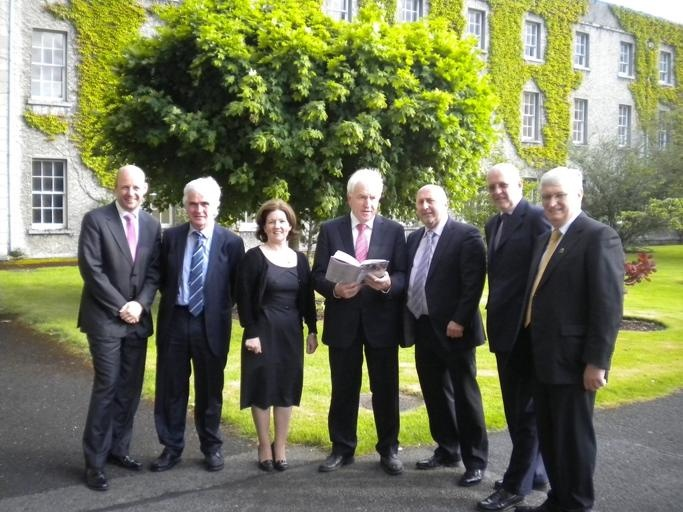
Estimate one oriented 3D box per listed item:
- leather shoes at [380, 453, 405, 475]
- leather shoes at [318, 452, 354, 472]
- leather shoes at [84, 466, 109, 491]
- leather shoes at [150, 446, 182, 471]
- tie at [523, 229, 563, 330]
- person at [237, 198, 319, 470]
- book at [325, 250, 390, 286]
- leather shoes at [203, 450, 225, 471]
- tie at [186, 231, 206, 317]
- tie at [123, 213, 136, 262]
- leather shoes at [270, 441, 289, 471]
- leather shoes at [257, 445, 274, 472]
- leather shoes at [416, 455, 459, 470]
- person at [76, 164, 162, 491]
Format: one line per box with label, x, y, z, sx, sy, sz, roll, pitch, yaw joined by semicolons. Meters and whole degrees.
leather shoes;0.479;2.006;6.415;0.229;0.155;0.205;1;4;4
leather shoes;-0.063;2.017;6.503;0.344;0.150;0.129;5;-7;-38
leather shoes;-2.253;2.049;6.096;0.114;0.143;0.331;5;-6;-37
leather shoes;-1.709;1.978;6.436;0.130;0.143;0.329;2;-7;23
tie;1.764;0.075;5.766;0.158;0.133;1.308;20;33;0
person;-0.654;0.743;6.570;0.541;2.600;0.675;3;5;29
book;0.081;0.124;6.097;0.378;0.152;0.370;4;-32;-7
leather shoes;-1.270;1.981;6.458;0.249;0.152;0.217;2;4;9
tie;-1.430;0.177;6.539;0.163;0.805;0.189;1;4;7
tie;-2.093;-0.210;6.532;0.081;0.523;0.061;-4;-11;-14
leather shoes;-0.639;1.996;6.467;0.099;0.133;0.326;3;-5;-26
leather shoes;-0.748;2.008;6.427;0.169;0.102;0.153;1;4;0
leather shoes;0.939;2.010;6.563;0.389;0.173;0.156;4;-8;-7
person;-2.135;0.611;6.428;0.794;2.964;0.696;-2;5;-33
